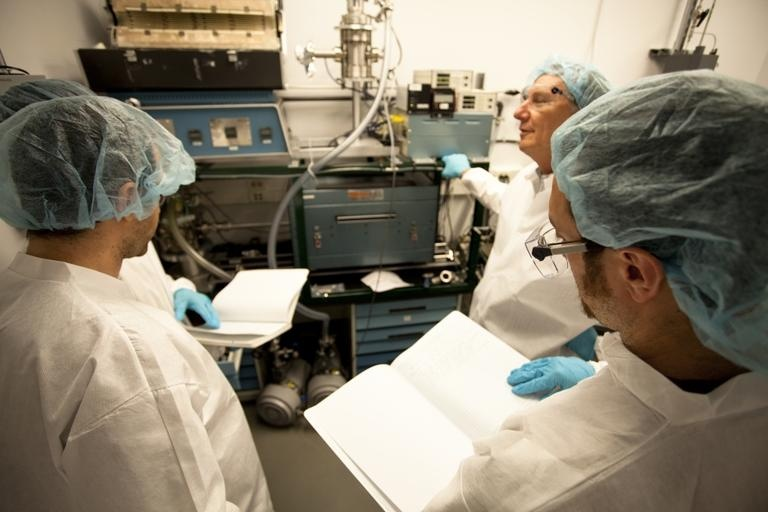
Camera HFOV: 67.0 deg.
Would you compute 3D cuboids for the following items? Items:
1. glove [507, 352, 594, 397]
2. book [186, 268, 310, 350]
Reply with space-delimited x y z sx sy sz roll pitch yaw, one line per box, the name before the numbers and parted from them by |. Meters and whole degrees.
glove | 0.628 0.432 2.138 0.261 0.081 0.152 -22 10 -25
book | -0.563 0.185 2.410 0.362 0.146 0.365 2 36 26
